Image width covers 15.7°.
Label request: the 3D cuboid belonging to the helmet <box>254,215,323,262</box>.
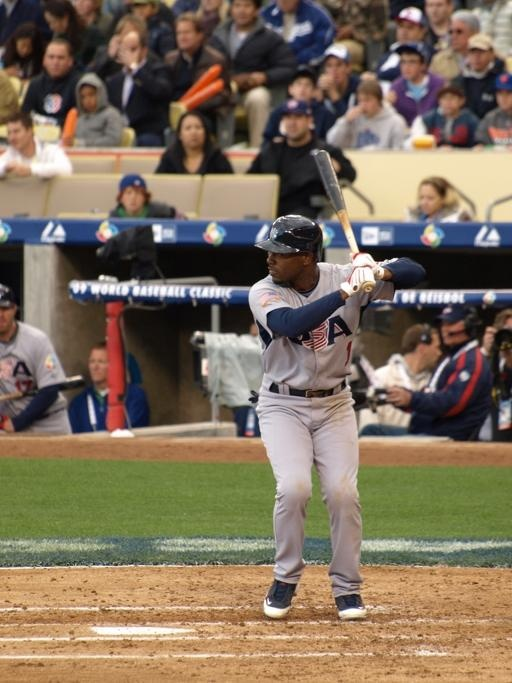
[{"bbox_3d":[0.151,-0.467,8.327,0.348,0.197,0.252,2,13,-29],"label":"helmet"}]

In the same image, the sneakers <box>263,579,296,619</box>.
[{"bbox_3d":[0.107,1.152,8.190,0.078,0.089,0.223,14,38,-2],"label":"sneakers"}]

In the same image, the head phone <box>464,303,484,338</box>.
[{"bbox_3d":[1.362,-0.130,11.488,0.084,0.233,0.178,0,14,11],"label":"head phone"}]

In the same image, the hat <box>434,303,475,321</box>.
[{"bbox_3d":[1.176,-0.169,10.737,0.205,0.133,0.291,2,12,6],"label":"hat"}]

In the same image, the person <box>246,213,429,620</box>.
[{"bbox_3d":[0.381,0.338,8.288,0.745,1.785,0.682,-2,5,-8],"label":"person"}]

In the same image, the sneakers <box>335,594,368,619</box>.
[{"bbox_3d":[0.424,1.180,8.209,0.144,0.099,0.142,4,12,13],"label":"sneakers"}]

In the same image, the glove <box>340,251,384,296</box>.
[{"bbox_3d":[0.482,-0.280,8.228,0.183,0.200,0.360,2,11,5],"label":"glove"}]

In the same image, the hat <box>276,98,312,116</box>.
[{"bbox_3d":[0.273,-1.499,11.935,0.185,0.103,0.200,0,12,-7],"label":"hat"}]

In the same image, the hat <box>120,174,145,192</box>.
[{"bbox_3d":[-0.767,-0.982,11.604,0.142,0.112,0.097,2,2,-12],"label":"hat"}]

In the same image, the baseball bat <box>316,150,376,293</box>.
[{"bbox_3d":[0.454,-0.518,8.830,0.167,0.882,0.122,-24,-30,18],"label":"baseball bat"}]

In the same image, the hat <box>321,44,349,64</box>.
[{"bbox_3d":[0.598,-2.131,13.814,0.190,0.109,0.301,-1,9,1],"label":"hat"}]
